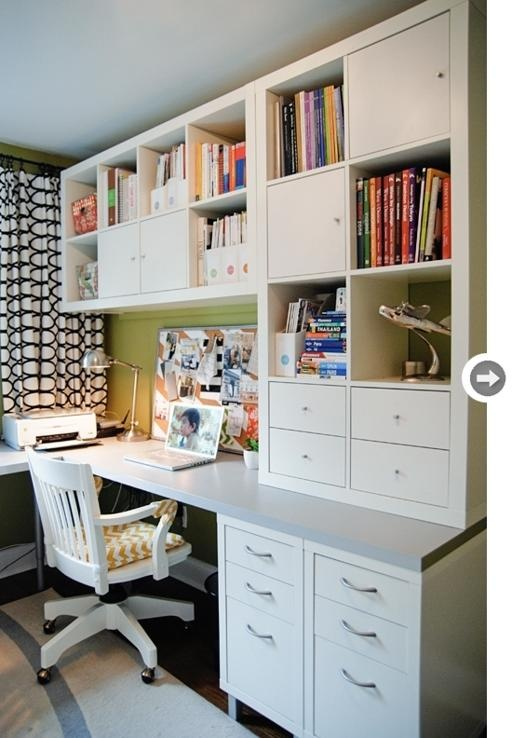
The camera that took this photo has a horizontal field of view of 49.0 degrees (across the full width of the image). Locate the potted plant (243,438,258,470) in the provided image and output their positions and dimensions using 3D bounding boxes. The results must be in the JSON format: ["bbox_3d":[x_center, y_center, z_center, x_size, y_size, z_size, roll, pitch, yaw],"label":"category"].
[{"bbox_3d":[-0.028,0.345,2.244,0.087,0.104,0.089,1,3,-10],"label":"potted plant"}]

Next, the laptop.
[{"bbox_3d":[-0.352,0.270,2.377,0.308,0.232,0.393,-2,2,-40],"label":"laptop"}]

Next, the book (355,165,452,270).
[{"bbox_3d":[0.413,-0.414,1.552,0.157,0.307,0.301,5,-6,-43],"label":"book"}]
